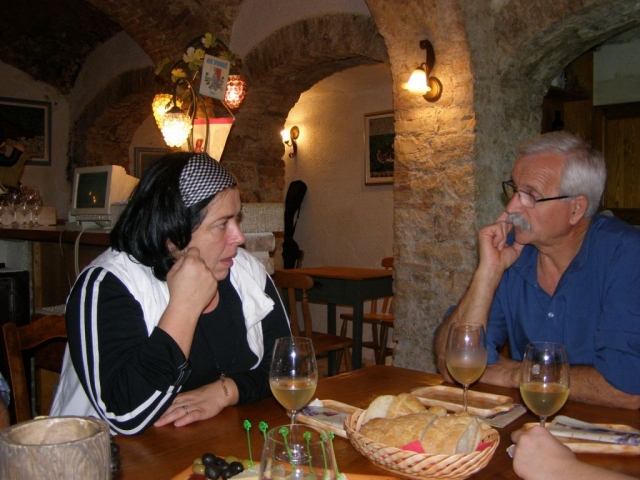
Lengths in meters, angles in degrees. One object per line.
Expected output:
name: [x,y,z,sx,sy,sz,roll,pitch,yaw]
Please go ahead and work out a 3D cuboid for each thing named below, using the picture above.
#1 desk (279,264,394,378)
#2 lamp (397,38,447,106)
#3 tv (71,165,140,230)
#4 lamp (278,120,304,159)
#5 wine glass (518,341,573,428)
desk: [0.052,0.470,4.398,0.871,1.136,1.162,-1,1,36]
lamp: [0.670,-1.096,3.261,0.239,0.386,0.120,0,-4,10]
tv: [-1.278,-0.244,2.957,0.452,0.416,0.257,-2,-12,32]
lamp: [-0.427,-1.388,7.061,0.333,0.463,0.182,-3,-5,42]
wine glass: [0.577,0.372,1.283,0.125,0.203,0.087,2,-4,-19]
